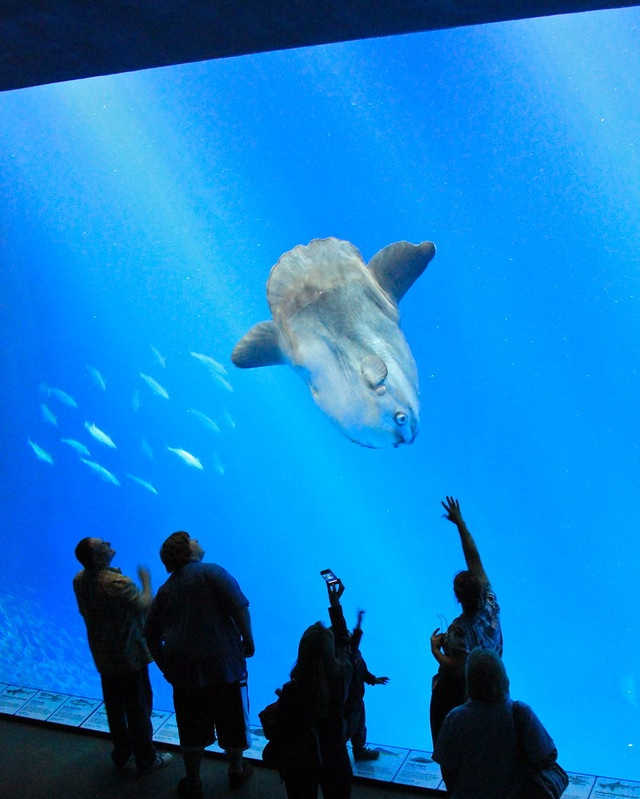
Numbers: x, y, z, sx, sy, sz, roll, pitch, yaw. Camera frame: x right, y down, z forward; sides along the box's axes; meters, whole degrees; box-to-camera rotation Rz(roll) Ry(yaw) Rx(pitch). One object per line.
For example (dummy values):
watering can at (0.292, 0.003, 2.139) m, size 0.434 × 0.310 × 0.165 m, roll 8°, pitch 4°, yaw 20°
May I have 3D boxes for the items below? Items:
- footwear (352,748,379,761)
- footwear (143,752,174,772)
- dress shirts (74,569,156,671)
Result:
footwear at (0.418, 3.265, 7.970) m, size 0.211 × 0.086 × 0.107 m, roll -2°, pitch -6°, yaw -8°
footwear at (-1.474, 3.327, 7.964) m, size 0.100 × 0.110 × 0.272 m, roll 4°, pitch 5°, yaw 39°
dress shirts at (-1.855, 1.980, 7.937) m, size 0.773 × 0.939 × 0.522 m, roll -5°, pitch 5°, yaw 29°
